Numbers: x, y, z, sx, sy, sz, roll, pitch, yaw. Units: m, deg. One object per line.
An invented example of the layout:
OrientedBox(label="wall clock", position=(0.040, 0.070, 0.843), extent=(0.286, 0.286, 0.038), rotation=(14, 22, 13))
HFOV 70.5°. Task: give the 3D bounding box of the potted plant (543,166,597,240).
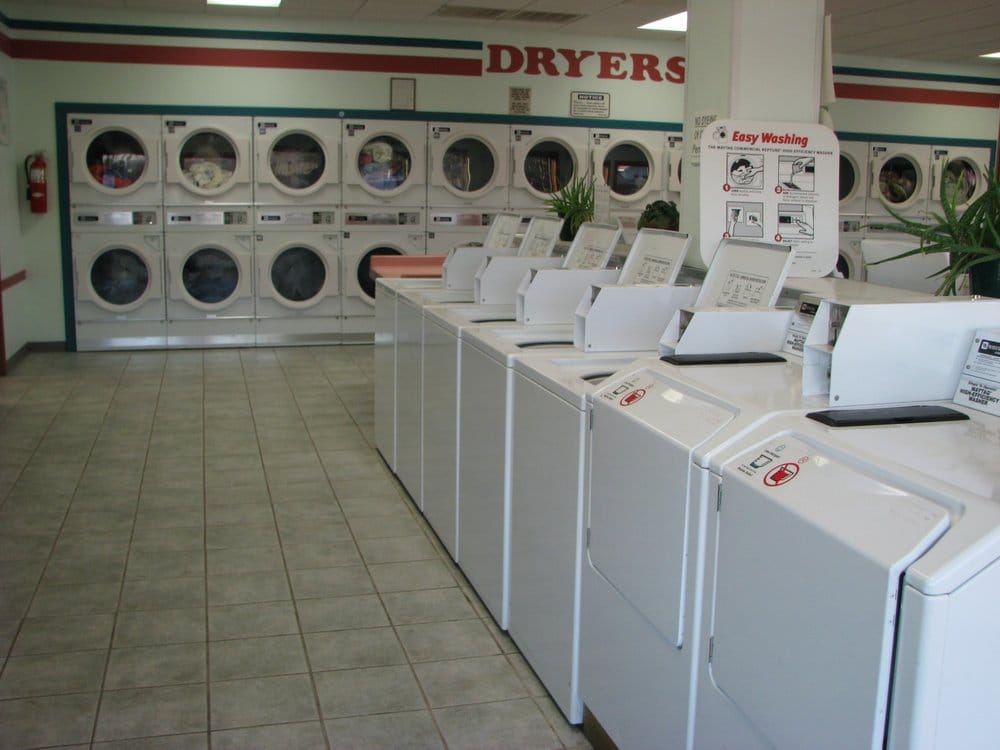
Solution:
OrientedBox(label="potted plant", position=(0.436, -1.007, 4.311), extent=(0.286, 0.398, 0.306), rotation=(9, 2, -24))
